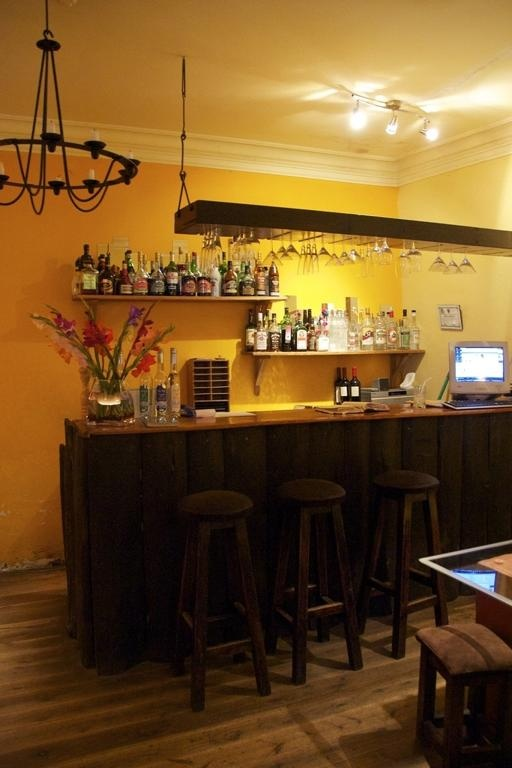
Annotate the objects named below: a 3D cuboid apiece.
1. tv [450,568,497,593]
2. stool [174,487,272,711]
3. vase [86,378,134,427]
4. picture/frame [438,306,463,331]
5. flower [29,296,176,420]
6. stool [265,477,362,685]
[{"bbox_3d":[0.564,0.504,1.573,0.103,0.008,0.174,0,1,22],"label":"tv"},{"bbox_3d":[-0.136,0.824,2.352,0.453,0.695,0.474,0,2,29],"label":"stool"},{"bbox_3d":[-0.611,0.074,2.529,0.171,0.178,0.160,-2,5,-33],"label":"vase"},{"bbox_3d":[1.450,-0.490,4.529,0.030,0.209,0.214,-1,1,-28],"label":"picture/frame"},{"bbox_3d":[-0.857,-0.130,3.211,0.714,0.690,0.747,-1,0,33],"label":"flower"},{"bbox_3d":[0.269,0.805,2.532,0.356,0.683,0.361,4,-12,-38],"label":"stool"}]
